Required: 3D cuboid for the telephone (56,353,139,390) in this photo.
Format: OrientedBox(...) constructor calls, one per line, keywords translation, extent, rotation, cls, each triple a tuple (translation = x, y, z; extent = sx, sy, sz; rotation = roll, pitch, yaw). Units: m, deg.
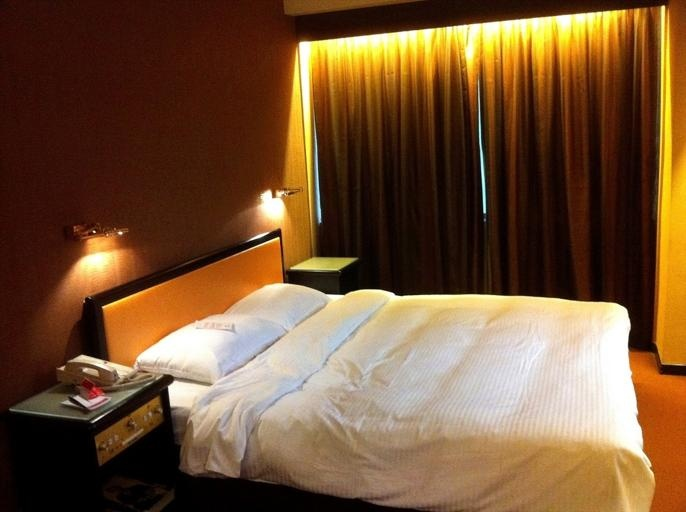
OrientedBox(translation=(-1.306, 0.589, 2.881), extent=(0.306, 0.146, 0.189), rotation=(5, 4, 2), cls="telephone")
